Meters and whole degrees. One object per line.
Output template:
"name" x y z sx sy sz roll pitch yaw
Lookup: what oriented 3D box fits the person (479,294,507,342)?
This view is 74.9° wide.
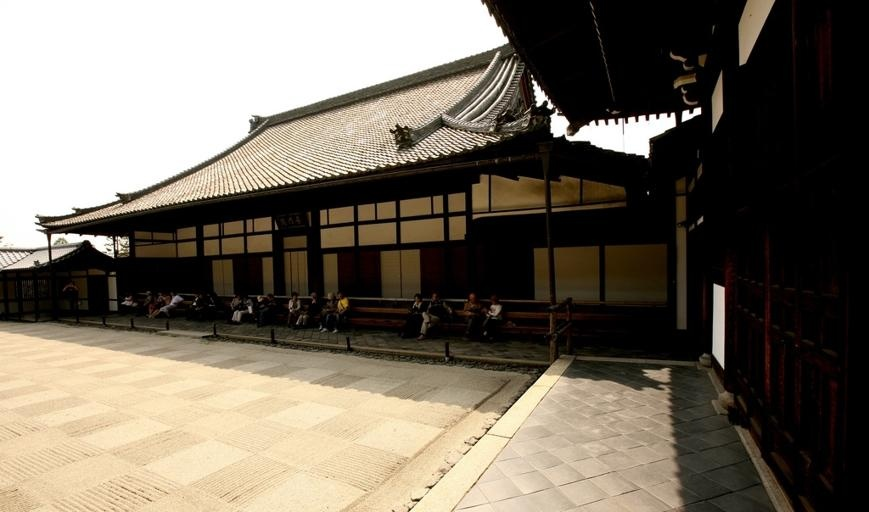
"person" 1.542 1.584 14.811 0.752 1.122 0.415 -8 12 -25

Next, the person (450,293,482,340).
"person" 0.869 1.571 15.136 0.696 1.109 1.253 25 2 23

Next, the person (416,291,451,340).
"person" -0.012 1.671 15.367 0.786 1.184 0.744 40 -42 -20
